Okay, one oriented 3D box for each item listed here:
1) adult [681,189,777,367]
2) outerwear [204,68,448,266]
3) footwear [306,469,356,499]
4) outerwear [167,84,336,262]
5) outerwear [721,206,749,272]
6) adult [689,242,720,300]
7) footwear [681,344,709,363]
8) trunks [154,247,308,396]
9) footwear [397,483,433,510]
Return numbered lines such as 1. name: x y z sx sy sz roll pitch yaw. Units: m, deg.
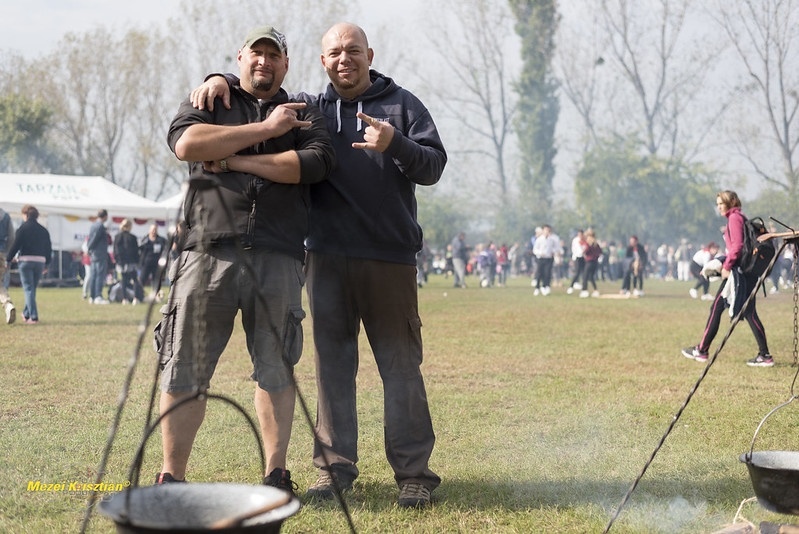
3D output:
1. adult: 3.712 0.135 17.546 1.073 1.943 0.754 2 -7 15
2. outerwear: -0.580 -0.891 14.523 2.355 1.725 1.455 -1 1 28
3. footwear: -0.703 1.998 14.219 0.593 0.247 0.196 9 -14 -24
4. outerwear: -1.325 -0.806 13.977 1.477 1.598 0.920 3 -10 -15
5. outerwear: 3.769 -0.302 17.452 0.210 0.592 0.447 11 2 8
6. adult: 4.895 0.044 24.512 0.512 0.821 0.347 20 41 22
7. footwear: 3.358 0.978 17.584 0.336 0.166 0.132 17 15 34
8. trunks: -1.541 0.492 14.189 1.439 1.308 0.532 4 -13 -12
9. footwear: 0.142 2.096 14.190 0.387 0.144 0.164 21 46 1
